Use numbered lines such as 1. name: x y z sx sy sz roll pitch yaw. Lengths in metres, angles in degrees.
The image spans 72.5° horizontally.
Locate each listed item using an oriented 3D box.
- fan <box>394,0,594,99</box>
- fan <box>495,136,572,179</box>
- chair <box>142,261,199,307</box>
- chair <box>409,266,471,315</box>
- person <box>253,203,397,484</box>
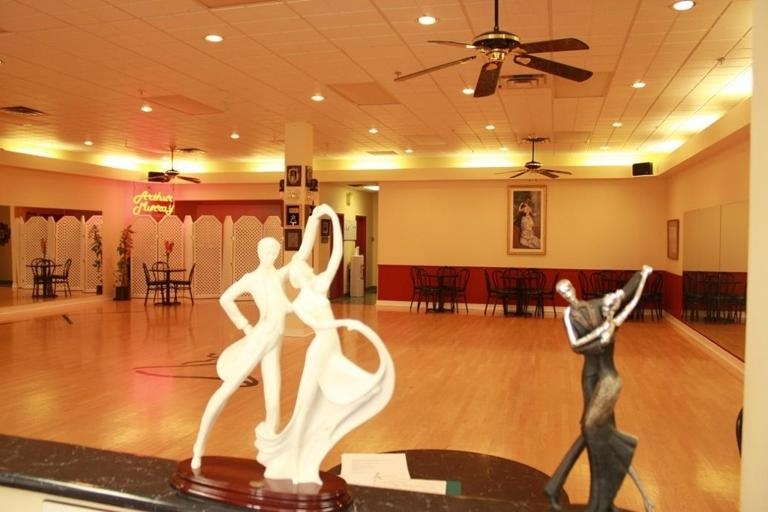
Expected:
1. fan: 1.130 -1.888 5.106 1.450 0.637 1.399 1 -1 -44
2. fan: 3.456 -2.026 11.759 1.179 0.591 1.196 -6 10 -40
3. chair: -5.650 0.782 14.330 1.379 1.533 1.264 0 -2 -42
4. chair: 1.437 0.846 13.517 1.337 0.806 1.265 -1 2 -19
5. person: -0.464 0.552 3.360 0.870 1.496 0.811 -8 15 -17
